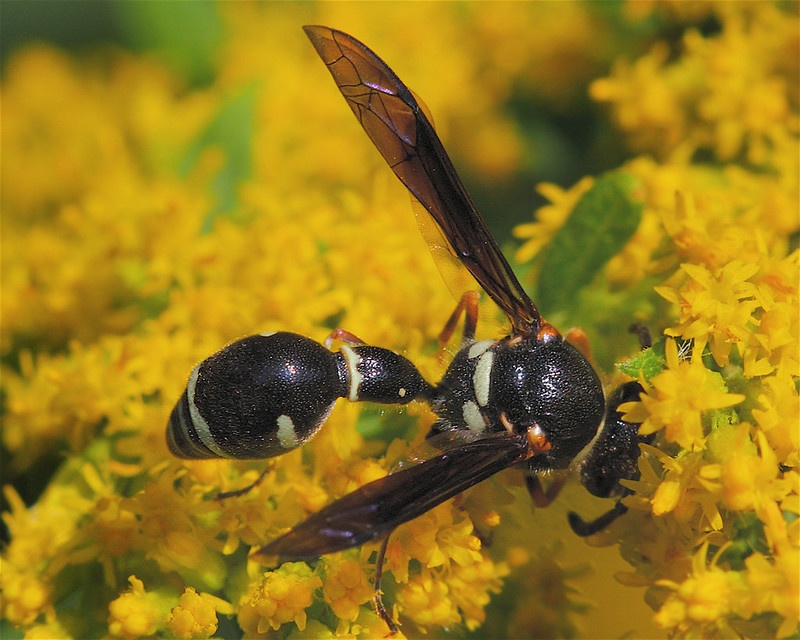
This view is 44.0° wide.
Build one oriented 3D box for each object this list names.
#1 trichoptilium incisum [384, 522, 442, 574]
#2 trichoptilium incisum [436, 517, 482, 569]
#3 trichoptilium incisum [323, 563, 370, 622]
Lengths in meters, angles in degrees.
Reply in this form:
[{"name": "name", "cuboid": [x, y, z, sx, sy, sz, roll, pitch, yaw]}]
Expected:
[{"name": "trichoptilium incisum", "cuboid": [0.023, 0.431, 1.879, 0.118, 0.041, 0.090, -22, 79, -4]}, {"name": "trichoptilium incisum", "cuboid": [0.114, 0.428, 1.892, 0.072, 0.039, 0.082, -20, 79, -3]}, {"name": "trichoptilium incisum", "cuboid": [-0.102, 0.513, 1.883, 0.089, 0.049, 0.106, -5, 85, -15]}]
